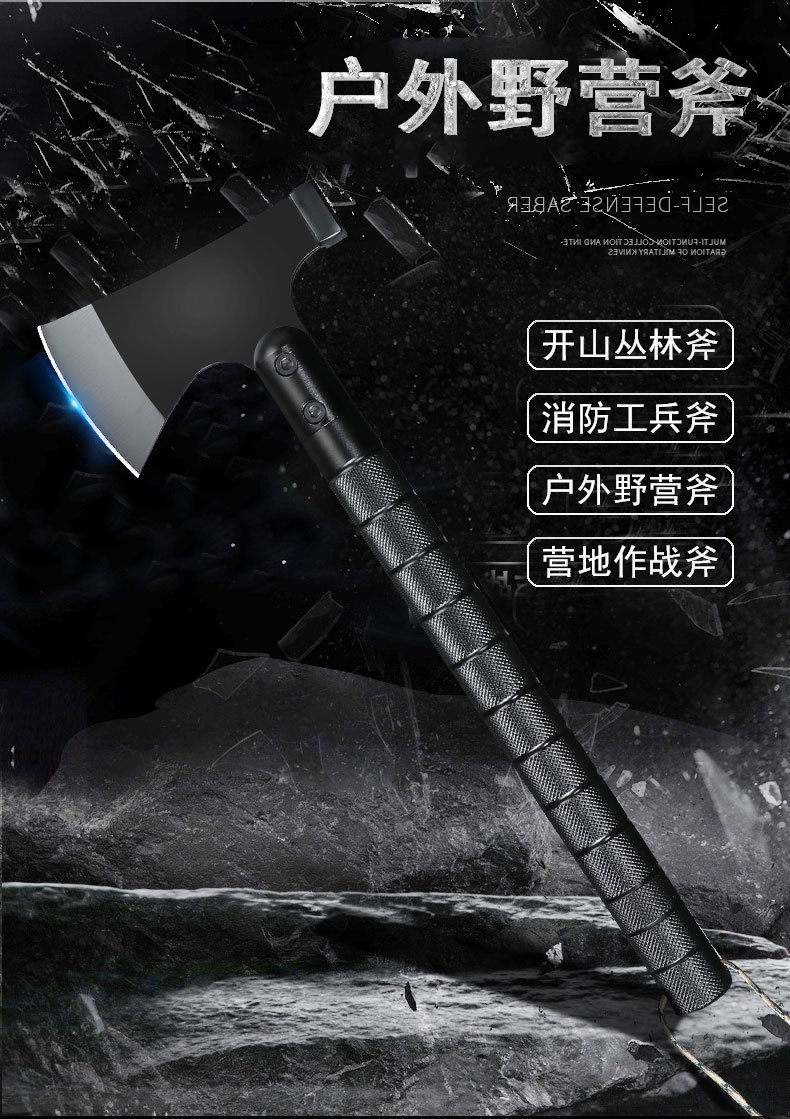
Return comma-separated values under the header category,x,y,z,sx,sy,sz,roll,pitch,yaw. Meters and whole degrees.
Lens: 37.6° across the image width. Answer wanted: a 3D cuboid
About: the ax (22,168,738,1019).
category,x,y,z,sx,sy,sz,roll,pitch,yaw
ax,-0.037,-0.005,2.183,0.695,1.977,0.157,-33,3,2
